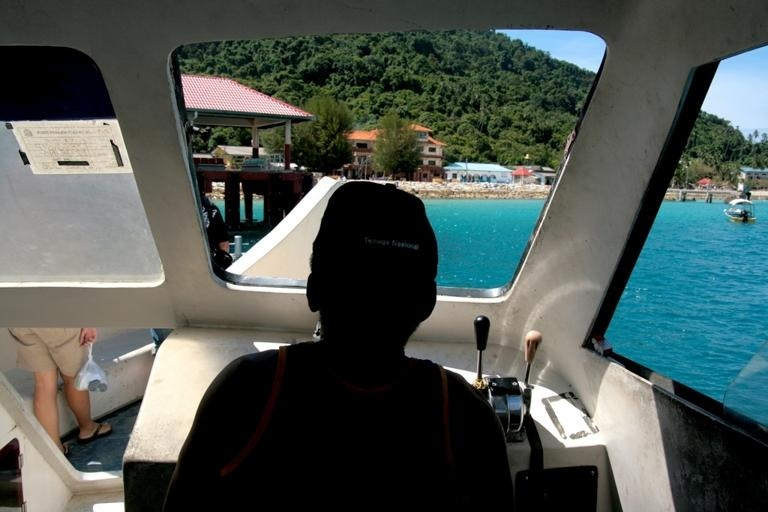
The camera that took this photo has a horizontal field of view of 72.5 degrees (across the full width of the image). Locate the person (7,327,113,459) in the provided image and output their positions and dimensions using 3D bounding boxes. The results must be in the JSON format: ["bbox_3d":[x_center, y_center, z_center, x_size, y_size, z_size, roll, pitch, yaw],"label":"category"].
[{"bbox_3d":[-2.465,0.970,4.031,0.516,1.231,0.573,-16,29,-40],"label":"person"}]
